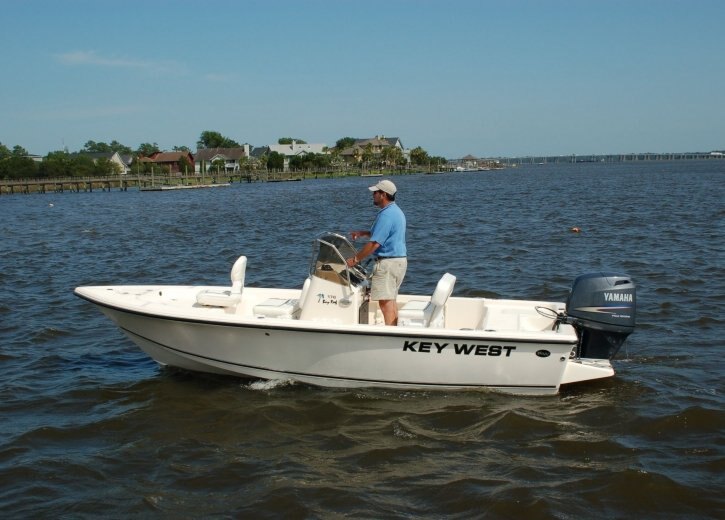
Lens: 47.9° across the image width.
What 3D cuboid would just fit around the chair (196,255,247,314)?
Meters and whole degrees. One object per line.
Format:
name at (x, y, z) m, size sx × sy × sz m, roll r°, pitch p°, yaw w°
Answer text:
chair at (-2.051, 0.370, 11.794) m, size 0.798 × 0.672 × 0.511 m, roll -3°, pitch 11°, yaw 1°

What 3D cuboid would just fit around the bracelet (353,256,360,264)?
bracelet at (-0.062, 0.004, 11.219) m, size 0.080 × 0.062 × 0.053 m, roll 17°, pitch 9°, yaw 32°

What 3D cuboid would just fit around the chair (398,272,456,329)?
chair at (0.912, 0.680, 11.418) m, size 0.993 × 1.024 × 0.862 m, roll 0°, pitch 14°, yaw 0°

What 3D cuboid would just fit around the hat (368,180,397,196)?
hat at (0.250, -0.990, 11.186) m, size 0.400 × 0.147 × 0.229 m, roll 8°, pitch 12°, yaw 7°

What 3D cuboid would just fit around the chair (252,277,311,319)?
chair at (-1.143, 0.508, 11.529) m, size 0.796 × 0.413 × 0.684 m, roll 3°, pitch 4°, yaw 7°
